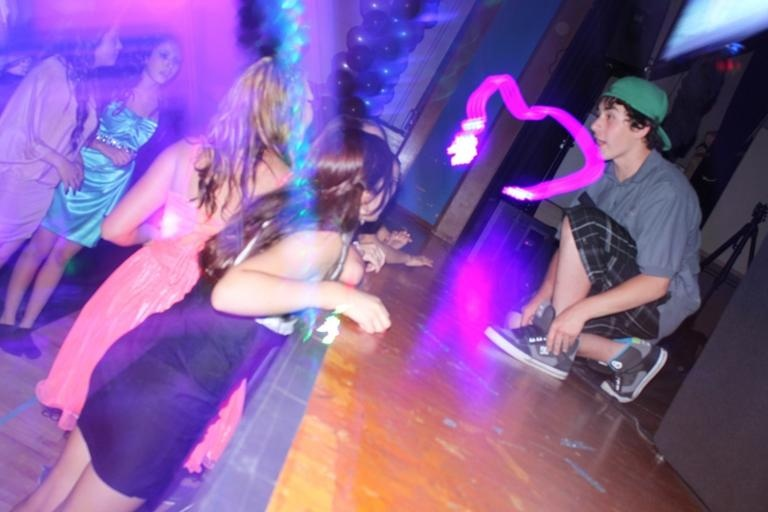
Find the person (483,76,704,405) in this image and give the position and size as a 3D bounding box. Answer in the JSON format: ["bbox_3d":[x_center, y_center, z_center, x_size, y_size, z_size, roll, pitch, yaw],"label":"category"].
[{"bbox_3d":[1.306,-0.078,2.879,1.155,1.809,0.804,-4,10,-16],"label":"person"}]

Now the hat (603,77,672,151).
[{"bbox_3d":[1.483,-0.821,2.789,0.412,0.220,0.303,36,-2,-5],"label":"hat"}]
